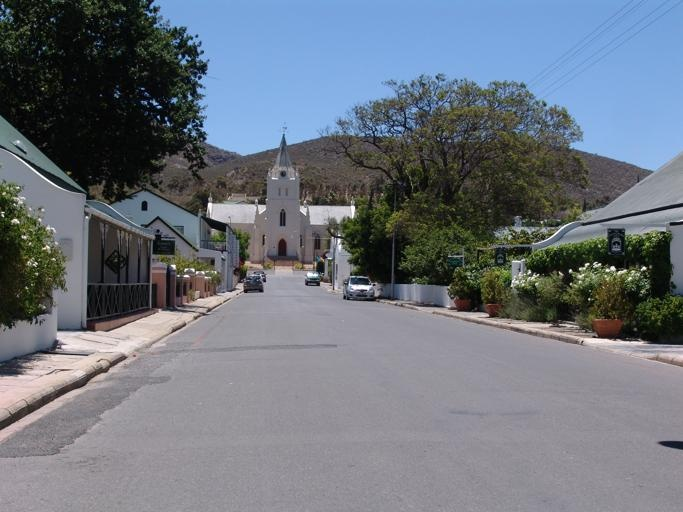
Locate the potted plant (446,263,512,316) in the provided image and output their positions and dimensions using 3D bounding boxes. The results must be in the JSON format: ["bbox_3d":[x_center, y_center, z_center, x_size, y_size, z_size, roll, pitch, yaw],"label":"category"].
[{"bbox_3d":[7.770,1.882,34.673,2.487,2.086,2.223,1,-2,-45],"label":"potted plant"}]

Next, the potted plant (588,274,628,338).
[{"bbox_3d":[9.145,1.718,20.853,1.132,2.171,0.929,-2,-5,35],"label":"potted plant"}]

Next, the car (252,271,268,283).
[{"bbox_3d":[-11.278,2.904,85.092,1.239,1.197,2.192,2,5,6],"label":"car"}]

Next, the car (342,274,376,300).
[{"bbox_3d":[1.551,2.798,53.494,2.747,2.254,3.379,2,-6,-8],"label":"car"}]
